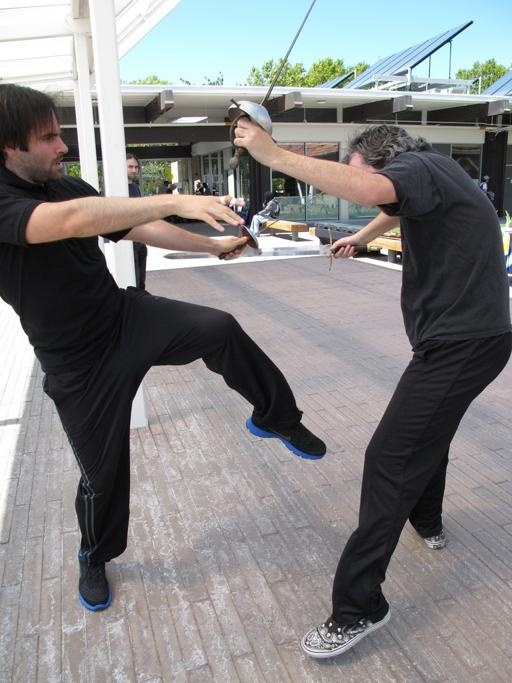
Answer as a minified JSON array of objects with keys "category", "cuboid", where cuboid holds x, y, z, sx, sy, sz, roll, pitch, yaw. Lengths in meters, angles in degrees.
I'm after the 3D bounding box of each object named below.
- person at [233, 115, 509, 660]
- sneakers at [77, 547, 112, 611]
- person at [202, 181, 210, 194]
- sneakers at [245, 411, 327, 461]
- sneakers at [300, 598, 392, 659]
[{"category":"person","cuboid":[0.439,0.143,1.737,0.893,1.691,0.494,-9,16,-25]},{"category":"sneakers","cuboid":[-0.635,0.921,1.980,0.093,0.089,0.243,-2,9,-25]},{"category":"person","cuboid":[-2.220,-6.886,22.922,0.340,0.383,0.987,5,37,-6]},{"category":"sneakers","cuboid":[0.144,0.394,2.049,0.327,0.119,0.145,24,38,-2]},{"category":"sneakers","cuboid":[0.305,0.930,1.683,0.305,0.105,0.106,-11,16,-21]}]
